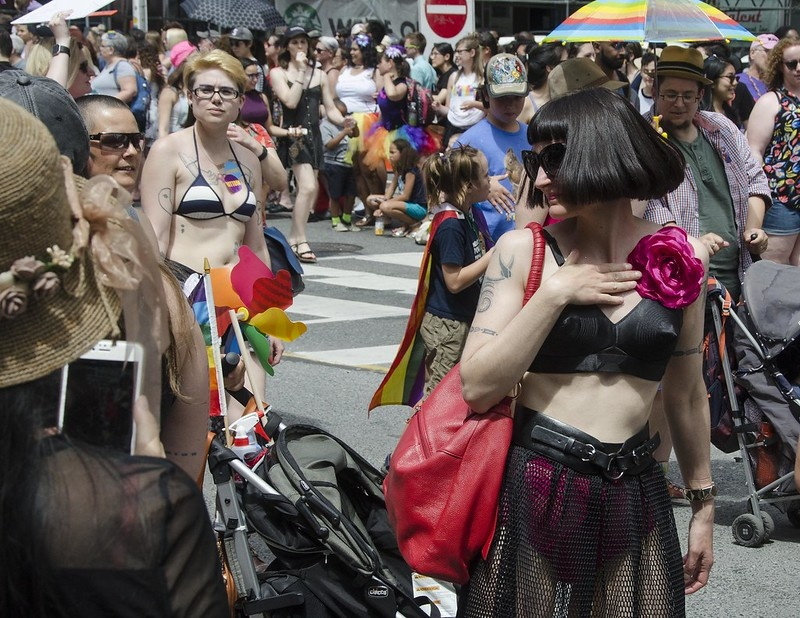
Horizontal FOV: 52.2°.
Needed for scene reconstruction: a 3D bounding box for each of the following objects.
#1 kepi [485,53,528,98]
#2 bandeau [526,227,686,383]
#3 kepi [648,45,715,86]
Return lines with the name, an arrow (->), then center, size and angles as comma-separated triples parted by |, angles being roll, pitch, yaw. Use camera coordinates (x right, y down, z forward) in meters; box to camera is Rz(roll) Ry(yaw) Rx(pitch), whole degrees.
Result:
kepi -> 0.782, -1.755, 6.059 | 0.230, 0.249, 0.422 | -2, 22, 0
bandeau -> 0.583, 0.018, 2.380 | 0.359, 0.394, 0.220 | 7, -7, -9
kepi -> 1.654, -1.461, 4.790 | 0.221, 0.122, 0.288 | 11, 1, 0
